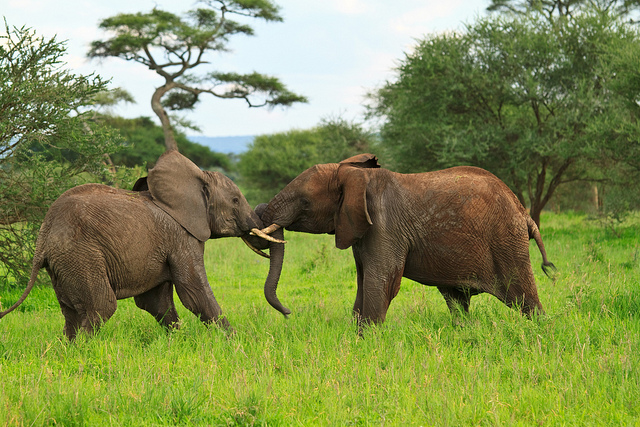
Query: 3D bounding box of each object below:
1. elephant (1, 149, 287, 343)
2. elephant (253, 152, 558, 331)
[{"bbox_3d":[-2.642,0.392,12.278,4.880,3.238,2.386,-12,9,-20],"label":"elephant"},{"bbox_3d":[1.432,0.414,11.188,4.145,2.768,1.240,0,1,14],"label":"elephant"}]
